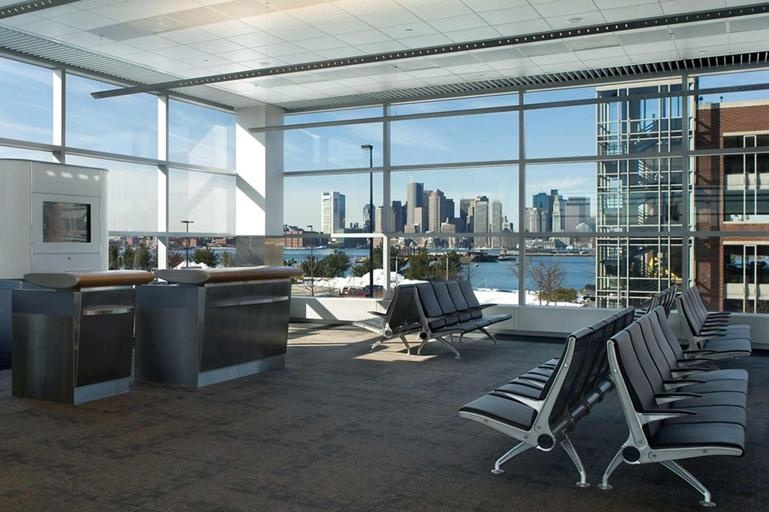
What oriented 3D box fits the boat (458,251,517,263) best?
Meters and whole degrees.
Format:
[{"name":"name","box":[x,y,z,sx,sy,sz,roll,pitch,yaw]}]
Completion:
[{"name":"boat","box":[1.895,0.055,11.702,1.774,0.257,0.307,-1,-4,22]}]

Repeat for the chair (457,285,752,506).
[{"name":"chair","box":[1.918,1.185,4.592,1.605,0.781,2.318,-2,-2,30]}]

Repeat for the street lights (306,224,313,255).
[{"name":"street lights","box":[-1.697,-0.360,12.852,0.110,0.671,0.279,-1,4,-16]}]

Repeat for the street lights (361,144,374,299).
[{"name":"street lights","box":[-0.327,-0.778,12.411,0.250,3.399,0.315,-2,5,-27]}]

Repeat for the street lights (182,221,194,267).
[{"name":"street lights","box":[-4.261,-0.275,12.126,0.214,0.994,0.362,-1,4,-10]}]

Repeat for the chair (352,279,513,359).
[{"name":"chair","box":[0.559,0.980,9.321,1.607,0.764,1.762,-2,-1,33]}]
